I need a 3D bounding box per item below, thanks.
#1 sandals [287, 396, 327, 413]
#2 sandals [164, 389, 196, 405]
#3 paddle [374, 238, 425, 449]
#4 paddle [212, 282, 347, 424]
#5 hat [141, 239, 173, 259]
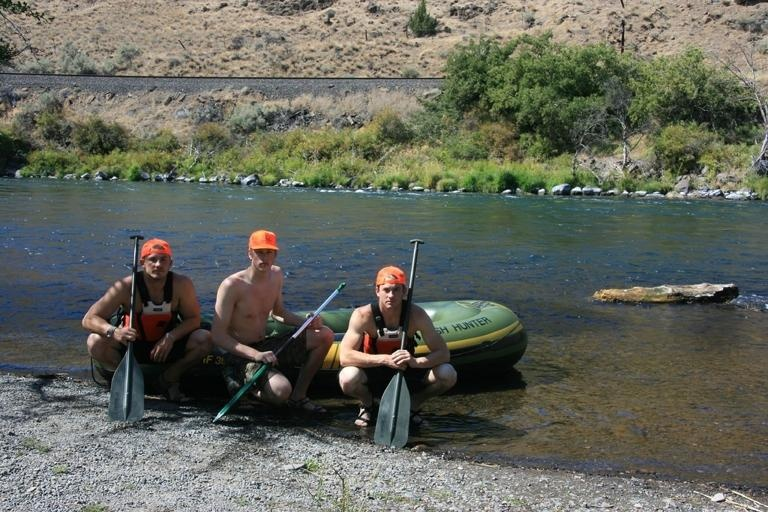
[{"bbox_3d":[-1.310,2.538,16.076,0.632,0.200,0.259,9,30,13],"label":"sandals"},{"bbox_3d":[-3.499,2.431,16.228,0.543,0.212,0.156,15,-23,-4],"label":"sandals"},{"bbox_3d":[0.174,1.432,15.608,0.655,3.277,1.022,0,9,1],"label":"paddle"},{"bbox_3d":[-1.807,1.747,16.102,3.096,0.242,0.216,-49,28,-21],"label":"paddle"},{"bbox_3d":[-3.851,-0.136,16.077,0.422,0.340,0.606,-1,4,-11],"label":"hat"}]
